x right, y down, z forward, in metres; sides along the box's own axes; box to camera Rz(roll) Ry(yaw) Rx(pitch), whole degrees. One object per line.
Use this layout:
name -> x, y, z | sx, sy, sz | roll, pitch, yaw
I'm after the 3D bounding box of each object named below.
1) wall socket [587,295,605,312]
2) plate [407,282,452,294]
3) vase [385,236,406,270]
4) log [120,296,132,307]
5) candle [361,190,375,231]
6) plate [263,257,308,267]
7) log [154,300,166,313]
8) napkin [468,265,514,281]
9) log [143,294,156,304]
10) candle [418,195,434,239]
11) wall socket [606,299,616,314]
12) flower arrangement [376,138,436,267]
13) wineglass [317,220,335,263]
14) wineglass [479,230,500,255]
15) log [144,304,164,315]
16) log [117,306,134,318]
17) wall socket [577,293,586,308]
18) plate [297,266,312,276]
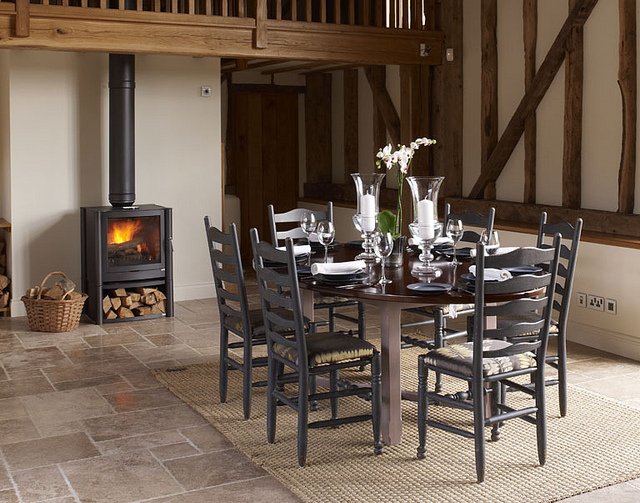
wall socket -> 2.298, 0.433, 4.940 | 0.011, 0.096, 0.145 | -9, 16, -27
plate -> 0.553, 0.188, 3.040 | 0.222, 0.028, 0.202 | -7, 11, -38
vase -> 0.433, 0.008, 3.652 | 0.179, 0.184, 0.176 | 0, 0, -6
log -> -1.916, 0.496, 5.847 | 0.100, 0.114, 0.058 | 1, 9, 5
candle -> 0.308, -0.261, 3.808 | 0.084, 0.258, 0.089 | 4, 10, 24
plate -> -0.224, 0.075, 3.768 | 0.284, 0.053, 0.296 | 0, 8, -1
log -> -1.623, 0.550, 6.004 | 0.029, 0.103, 0.107 | -9, 18, 44
napkin -> 0.930, 0.123, 3.160 | 0.138, 0.039, 0.133 | -1, 4, -25
log -> -1.697, 0.473, 5.910 | 0.110, 0.102, 0.049 | -3, 9, -20
candle -> 0.619, -0.200, 3.480 | 0.089, 0.254, 0.077 | -1, 9, -2
wall socket -> 2.359, 0.447, 4.814 | 0.009, 0.126, 0.115 | -7, 10, -28
flower arrangement -> 0.518, -0.311, 3.814 | 0.399, 1.053, 0.388 | -7, 15, -34
wineglass -> 0.037, -0.109, 3.772 | 0.098, 0.179, 0.165 | 2, 9, 13
wineglass -> 0.973, -0.049, 3.405 | 0.093, 0.158, 0.300 | 2, 9, 15
log -> -1.674, 0.583, 5.965 | 0.166, 0.104, 0.026 | -4, 10, -21
log -> -1.924, 0.610, 5.853 | 0.113, 0.108, 0.050 | -17, 14, -35
wall socket -> 2.234, 0.417, 5.071 | 0.015, 0.141, 0.129 | -3, 6, -27
plate -> -0.093, 0.115, 3.425 | 0.080, 0.029, 0.156 | 0, 8, -1
